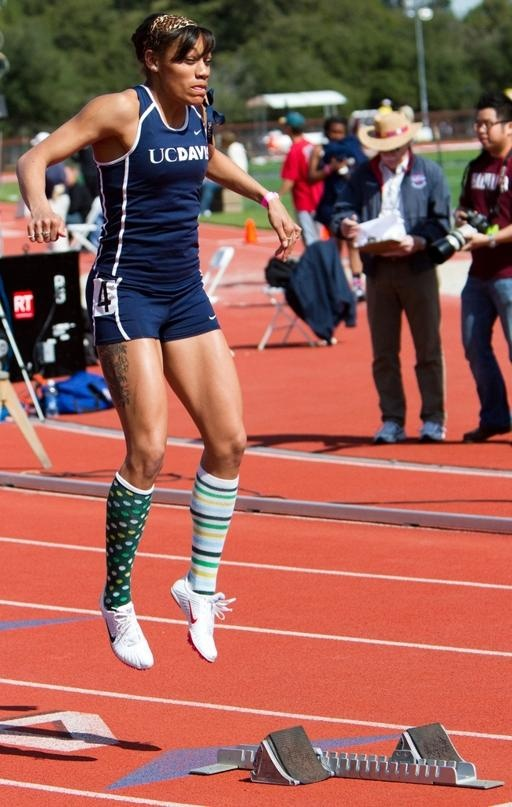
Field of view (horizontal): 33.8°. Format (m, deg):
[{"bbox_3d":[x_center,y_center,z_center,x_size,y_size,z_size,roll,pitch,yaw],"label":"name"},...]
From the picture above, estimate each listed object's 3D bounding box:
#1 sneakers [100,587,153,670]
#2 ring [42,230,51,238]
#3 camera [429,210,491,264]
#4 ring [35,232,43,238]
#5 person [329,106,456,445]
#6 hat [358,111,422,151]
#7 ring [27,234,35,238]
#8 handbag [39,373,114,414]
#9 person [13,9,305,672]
[{"bbox_3d":[-0.362,0.609,2.358,0.093,0.250,0.102,-22,-20,-22],"label":"sneakers"},{"bbox_3d":[-0.514,-0.412,2.073,0.017,0.019,0.026,-7,12,-14],"label":"ring"},{"bbox_3d":[1.250,-1.011,5.153,0.380,0.138,0.233,-36,31,-17],"label":"camera"},{"bbox_3d":[-0.535,-0.414,2.078,0.015,0.011,0.013,-2,2,-10],"label":"ring"},{"bbox_3d":[0.945,-0.834,5.783,0.799,2.291,0.742,0,13,17],"label":"person"},{"bbox_3d":[0.849,-1.795,5.532,0.397,0.298,0.395,1,13,21],"label":"hat"},{"bbox_3d":[-0.563,-0.415,2.109,0.018,0.015,0.014,1,-3,-19],"label":"ring"},{"bbox_3d":[-1.559,-0.119,7.692,0.756,0.258,0.546,0,6,-22],"label":"handbag"},{"bbox_3d":[-0.260,-0.209,2.483,0.438,1.784,0.910,2,14,27],"label":"person"}]
